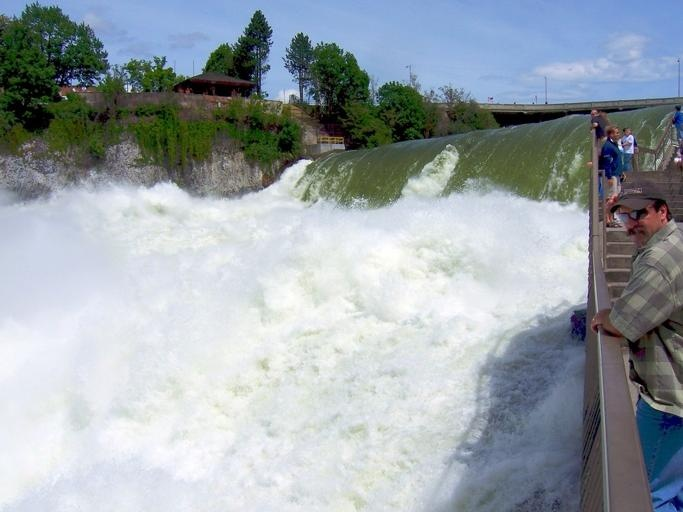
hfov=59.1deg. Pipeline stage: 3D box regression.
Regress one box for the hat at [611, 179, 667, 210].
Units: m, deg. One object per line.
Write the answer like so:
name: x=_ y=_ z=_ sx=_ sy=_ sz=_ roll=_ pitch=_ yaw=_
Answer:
hat: x=2.322 y=-0.460 z=4.703 sx=0.311 sy=0.183 sz=0.236 roll=1 pitch=-1 yaw=-18
